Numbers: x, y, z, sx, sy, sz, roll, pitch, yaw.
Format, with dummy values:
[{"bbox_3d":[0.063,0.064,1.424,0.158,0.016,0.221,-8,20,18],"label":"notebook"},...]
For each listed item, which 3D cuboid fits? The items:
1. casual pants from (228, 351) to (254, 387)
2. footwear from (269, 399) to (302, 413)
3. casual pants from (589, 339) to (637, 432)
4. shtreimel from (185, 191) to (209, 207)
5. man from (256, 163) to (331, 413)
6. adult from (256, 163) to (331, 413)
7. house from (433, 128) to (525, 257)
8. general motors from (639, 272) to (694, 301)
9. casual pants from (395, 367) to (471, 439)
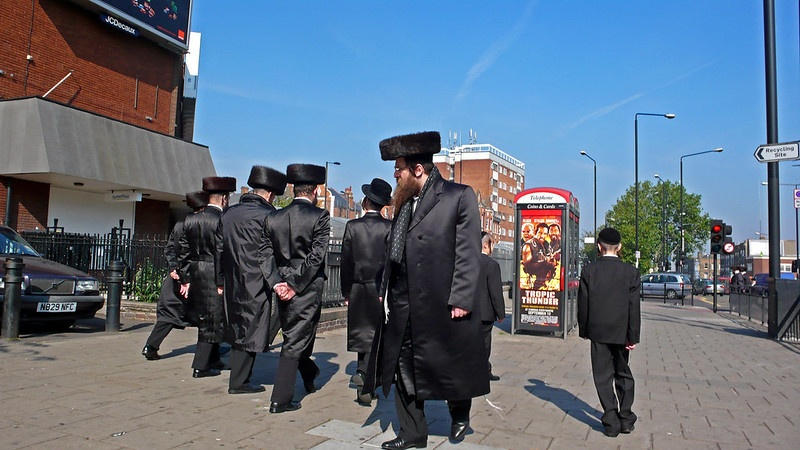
[{"bbox_3d":[-2.988,2.712,10.738,0.398,0.740,0.437,3,-5,-18],"label":"casual pants"},{"bbox_3d":[-2.061,3.241,10.282,0.581,0.213,0.202,-2,2,-33],"label":"footwear"},{"bbox_3d":[3.790,2.896,10.134,0.749,1.603,0.364,3,-5,-16],"label":"casual pants"},{"bbox_3d":[-4.461,-0.551,12.467,0.461,0.254,0.352,-4,1,43],"label":"shtreimel"},{"bbox_3d":[-1.942,1.126,10.416,1.165,4.491,0.447,3,-5,-9],"label":"man"},{"bbox_3d":[-1.944,1.126,10.415,1.164,4.491,0.462,3,-5,-11],"label":"adult"},{"bbox_3d":[12.488,-5.220,96.847,10.953,16.166,18.993,1,-4,25],"label":"house"},{"bbox_3d":[18.352,4.268,39.491,2.994,1.791,2.622,-1,-5,25],"label":"general motors"},{"bbox_3d":[0.517,2.879,9.239,0.643,1.284,1.583,0,-20,43],"label":"casual pants"}]
